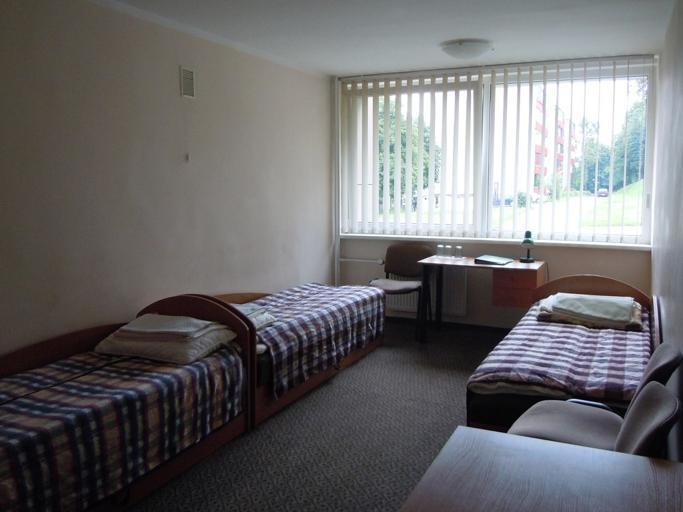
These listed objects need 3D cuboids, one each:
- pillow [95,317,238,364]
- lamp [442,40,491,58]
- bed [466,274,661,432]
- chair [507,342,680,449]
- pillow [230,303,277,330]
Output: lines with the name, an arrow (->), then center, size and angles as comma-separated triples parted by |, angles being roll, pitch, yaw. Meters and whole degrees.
pillow -> -1.099, 0.496, 2.918 | 0.544, 0.138, 0.367 | 2, 13, 22
lamp -> 1.069, -1.782, 4.169 | 0.433, 0.111, 0.307 | 4, 11, 15
bed -> 1.416, 0.574, 2.954 | 0.865, 0.615, 1.514 | 4, 16, 38
chair -> 1.147, 0.653, 2.228 | 0.411, 0.530, 0.382 | 9, 14, 24
pillow -> -0.625, 0.420, 3.508 | 0.273, 0.078, 0.172 | 22, 21, 28
